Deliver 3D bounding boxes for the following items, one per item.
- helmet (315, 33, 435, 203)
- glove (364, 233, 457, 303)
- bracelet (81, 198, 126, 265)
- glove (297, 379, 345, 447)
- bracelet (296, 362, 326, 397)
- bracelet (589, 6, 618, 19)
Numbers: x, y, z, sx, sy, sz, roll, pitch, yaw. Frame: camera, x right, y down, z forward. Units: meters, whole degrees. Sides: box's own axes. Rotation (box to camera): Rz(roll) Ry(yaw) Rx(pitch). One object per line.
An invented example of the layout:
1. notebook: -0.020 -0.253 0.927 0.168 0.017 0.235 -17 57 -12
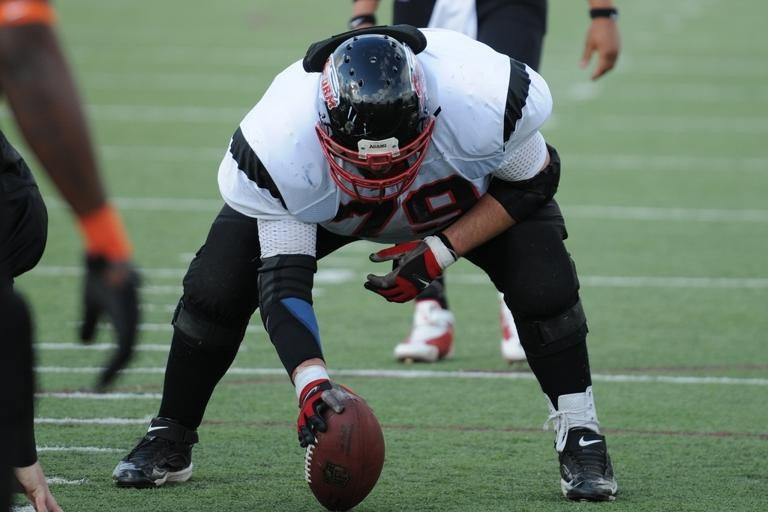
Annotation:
1. helmet: 0.008 -0.466 3.190 0.411 0.427 0.542 0 68 3
2. glove: 0.118 0.056 3.364 0.134 0.329 0.223 4 49 -59
3. bracelet: -0.744 -0.065 2.404 0.072 0.146 0.212 -33 22 -17
4. glove: -0.213 0.542 3.029 0.163 0.230 0.131 -2 13 -5
5. bracelet: -0.248 0.434 3.111 0.087 0.106 0.114 56 11 22
6. bracelet: 1.076 -1.206 4.312 0.127 0.064 0.103 2 13 12
